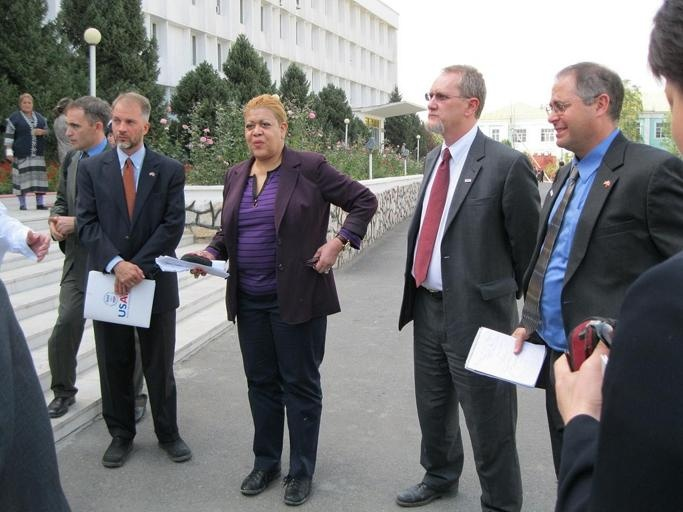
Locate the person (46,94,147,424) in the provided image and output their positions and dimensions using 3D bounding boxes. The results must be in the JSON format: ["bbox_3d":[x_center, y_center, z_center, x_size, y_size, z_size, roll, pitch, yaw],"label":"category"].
[{"bbox_3d":[-2.227,0.057,4.997,0.817,2.866,0.809,3,10,-5],"label":"person"}]

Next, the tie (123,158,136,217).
[{"bbox_3d":[-1.668,-0.539,4.410,0.088,0.452,0.140,-3,8,-21],"label":"tie"}]

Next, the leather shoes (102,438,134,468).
[{"bbox_3d":[-1.778,1.540,4.463,0.166,0.164,0.337,0,9,1],"label":"leather shoes"}]

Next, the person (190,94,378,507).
[{"bbox_3d":[-0.414,0.268,4.035,1.122,2.848,0.688,1,8,3],"label":"person"}]

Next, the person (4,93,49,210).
[{"bbox_3d":[-6.859,-2.294,12.219,0.811,2.441,0.935,-5,9,-30],"label":"person"}]

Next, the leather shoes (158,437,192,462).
[{"bbox_3d":[-1.311,1.561,4.486,0.118,0.128,0.291,-3,2,-39],"label":"leather shoes"}]

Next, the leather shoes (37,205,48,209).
[{"bbox_3d":[-6.425,-1.045,12.044,0.241,0.109,0.080,0,23,27],"label":"leather shoes"}]

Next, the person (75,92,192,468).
[{"bbox_3d":[-1.644,0.164,4.439,0.826,2.897,0.666,-2,8,-18],"label":"person"}]

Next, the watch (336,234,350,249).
[{"bbox_3d":[0.013,-0.110,4.060,0.057,0.090,0.104,-40,8,4],"label":"watch"}]

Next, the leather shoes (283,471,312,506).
[{"bbox_3d":[-0.299,1.630,3.970,0.208,0.141,0.294,-1,9,-5],"label":"leather shoes"}]

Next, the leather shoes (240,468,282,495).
[{"bbox_3d":[-0.593,1.639,4.123,0.106,0.150,0.308,1,-1,29],"label":"leather shoes"}]
